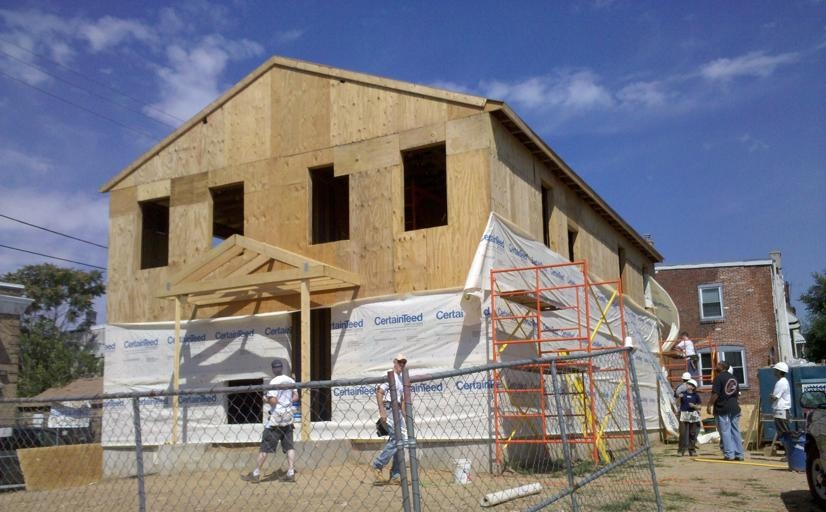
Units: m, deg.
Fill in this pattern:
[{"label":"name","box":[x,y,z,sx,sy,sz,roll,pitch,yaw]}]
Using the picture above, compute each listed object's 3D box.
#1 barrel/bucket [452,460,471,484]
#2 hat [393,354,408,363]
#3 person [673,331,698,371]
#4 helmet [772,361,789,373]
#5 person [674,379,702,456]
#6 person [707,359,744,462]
[{"label":"barrel/bucket","box":[1.145,4.785,16.618,0.378,0.547,0.563,11,-21,-34]},{"label":"hat","box":[-0.252,2.148,15.506,0.240,0.139,0.377,6,-11,-6]},{"label":"person","box":[9.965,3.539,27.474,0.619,1.521,0.743,-13,11,-26]},{"label":"helmet","box":[9.594,2.936,19.765,0.465,0.190,0.391,10,5,39]},{"label":"person","box":[7.584,4.468,20.784,0.692,2.087,0.877,-7,-17,17]},{"label":"person","box":[8.103,4.008,19.483,0.715,2.535,1.130,-8,-18,22]}]
